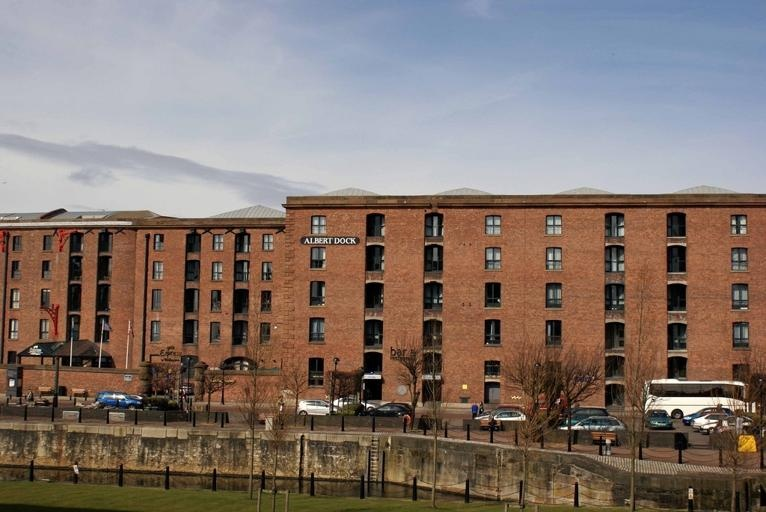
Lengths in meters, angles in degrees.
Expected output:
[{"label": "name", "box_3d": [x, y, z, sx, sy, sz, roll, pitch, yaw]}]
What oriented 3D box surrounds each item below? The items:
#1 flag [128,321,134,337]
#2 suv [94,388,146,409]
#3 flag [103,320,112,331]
[{"label": "flag", "box_3d": [-25.796, 7.445, 151.117, 0.433, 1.602, 0.786, -2, -12, 15]}, {"label": "suv", "box_3d": [-23.614, 12.791, 132.333, 3.910, 1.701, 4.661, 3, -10, -12]}, {"label": "flag", "box_3d": [-28.204, 7.195, 151.061, 1.346, 0.985, 0.772, -3, -8, 15]}]
